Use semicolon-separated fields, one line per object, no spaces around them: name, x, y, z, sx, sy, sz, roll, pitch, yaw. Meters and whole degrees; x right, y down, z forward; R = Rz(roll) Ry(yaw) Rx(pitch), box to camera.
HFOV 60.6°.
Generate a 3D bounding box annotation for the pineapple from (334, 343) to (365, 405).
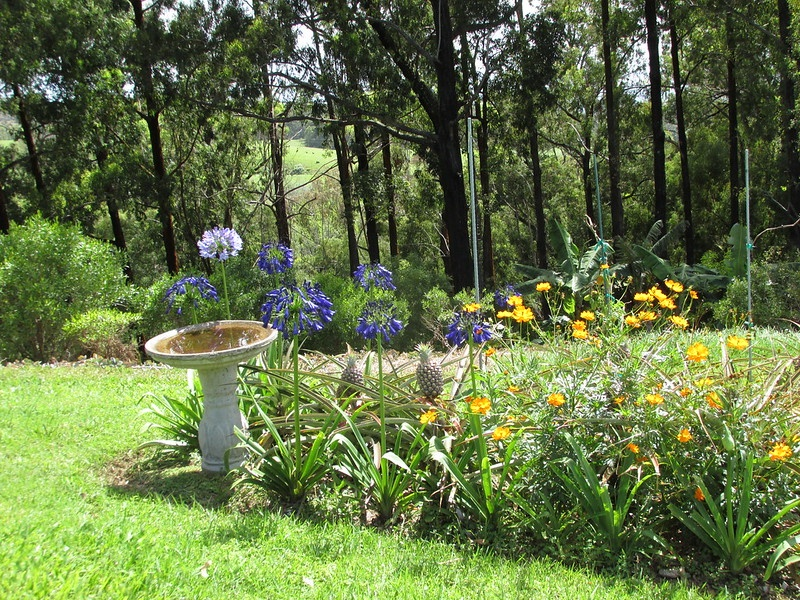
pineapple;-0.548;0.856;7.640;0.295;0.511;0.739;1;12;-6
